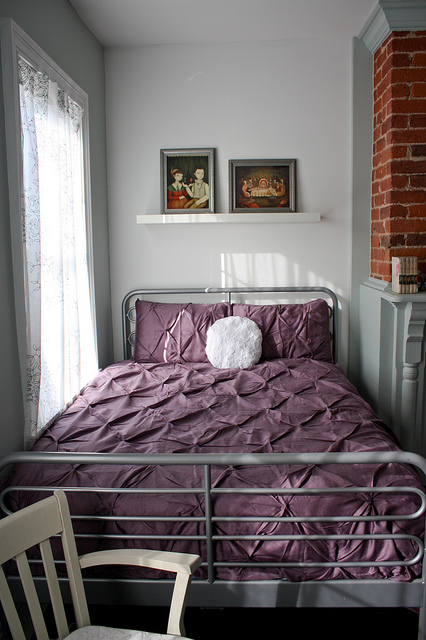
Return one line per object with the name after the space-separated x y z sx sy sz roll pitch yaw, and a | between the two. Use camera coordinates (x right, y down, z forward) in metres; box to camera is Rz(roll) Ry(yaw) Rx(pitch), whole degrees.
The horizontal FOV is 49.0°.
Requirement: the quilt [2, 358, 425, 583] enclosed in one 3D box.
0.061 0.393 1.735 0.990 0.428 1.397 0 10 2 | quilt

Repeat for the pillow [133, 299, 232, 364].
-0.184 0.072 2.741 0.568 0.383 0.100 2 -14 3 | pillow

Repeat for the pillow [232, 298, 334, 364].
0.451 0.035 2.727 0.508 0.400 0.145 5 -32 -17 | pillow
